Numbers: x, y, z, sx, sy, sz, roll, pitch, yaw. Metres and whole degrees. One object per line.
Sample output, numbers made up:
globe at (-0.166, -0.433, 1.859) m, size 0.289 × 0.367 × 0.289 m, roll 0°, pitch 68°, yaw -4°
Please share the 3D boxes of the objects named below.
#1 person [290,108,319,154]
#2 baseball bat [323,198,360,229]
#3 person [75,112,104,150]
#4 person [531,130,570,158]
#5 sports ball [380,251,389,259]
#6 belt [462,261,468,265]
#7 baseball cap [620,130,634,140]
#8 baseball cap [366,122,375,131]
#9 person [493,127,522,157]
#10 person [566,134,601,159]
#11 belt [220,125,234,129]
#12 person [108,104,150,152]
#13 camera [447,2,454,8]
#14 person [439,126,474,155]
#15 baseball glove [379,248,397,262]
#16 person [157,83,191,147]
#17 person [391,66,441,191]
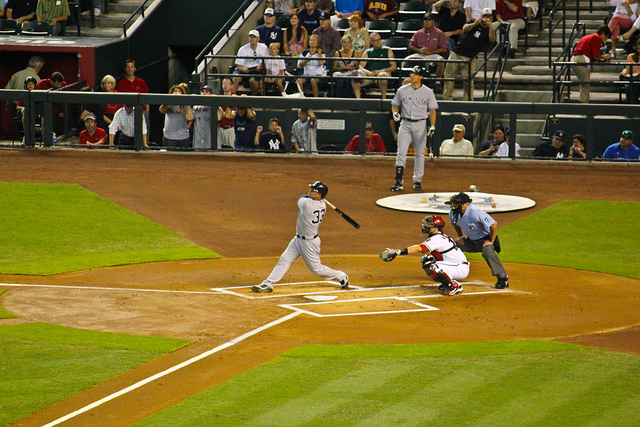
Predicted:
person at (-0.423, -2.251, 34.231) m, size 0.795 × 1.278 × 0.634 m, roll 2°, pitch 7°, yaw -1°
baseball bat at (0.521, 0.021, 29.930) m, size 1.196 × 0.114 × 0.150 m, roll 34°, pitch 2°, yaw 0°
person at (-6.439, -2.178, 35.075) m, size 0.970 × 1.091 × 1.343 m, roll -8°, pitch 10°, yaw -13°
person at (6.299, -1.911, 33.820) m, size 0.593 × 0.701 × 0.241 m, roll 25°, pitch 42°, yaw -14°
sports ball at (1.369, 0.882, 26.163) m, size 0.156 × 0.163 × 0.202 m, roll 2°, pitch 6°, yaw 3°
belt at (3.098, 1.062, 26.479) m, size 0.156 × 0.049 × 0.021 m, roll -3°, pitch 9°, yaw -40°
baseball cap at (8.213, -2.093, 33.141) m, size 0.264 × 0.232 × 0.448 m, roll 4°, pitch 7°, yaw 19°
baseball cap at (1.387, -2.380, 34.277) m, size 0.173 × 0.225 × 0.364 m, roll 3°, pitch 6°, yaw 12°
person at (5.146, -1.922, 33.987) m, size 0.715 × 0.783 × 0.260 m, roll 2°, pitch 7°, yaw 6°
person at (7.104, -1.707, 33.775) m, size 0.812 × 0.406 × 0.577 m, roll 21°, pitch -46°, yaw -25°
belt at (-2.595, -2.401, 34.676) m, size 0.383 × 0.111 × 0.073 m, roll 1°, pitch 7°, yaw -5°
person at (-5.385, -2.389, 34.700) m, size 1.196 × 1.295 × 0.784 m, roll 2°, pitch 7°, yaw 2°
camera at (3.841, -6.113, 36.656) m, size 0.255 × 0.109 × 0.320 m, roll 0°, pitch -7°, yaw 3°
person at (3.743, -1.923, 34.228) m, size 1.128 × 0.886 × 0.581 m, roll 6°, pitch 6°, yaw 28°
baseball glove at (1.497, 0.909, 27.092) m, size 0.368 × 0.163 × 0.470 m, roll -3°, pitch -3°, yaw 7°
person at (-4.035, -2.441, 34.535) m, size 0.890 × 1.227 × 0.781 m, roll 1°, pitch 7°, yaw -6°
person at (2.344, -2.084, 31.111) m, size 1.114 × 3.110 × 0.991 m, roll 2°, pitch 7°, yaw 2°
